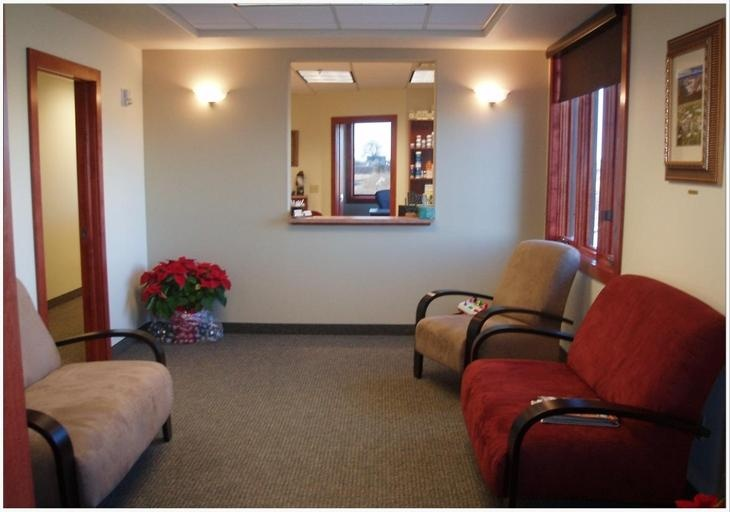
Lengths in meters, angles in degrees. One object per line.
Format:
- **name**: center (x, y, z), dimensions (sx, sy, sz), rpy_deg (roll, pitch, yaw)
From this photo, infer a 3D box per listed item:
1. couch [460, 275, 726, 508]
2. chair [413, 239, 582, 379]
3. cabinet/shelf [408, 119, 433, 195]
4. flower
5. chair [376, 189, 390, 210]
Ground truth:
- **couch**: center (1.178, 0.818, 3.098), dimensions (1.290, 0.986, 1.262), rpy_deg (-3, 6, 2)
- **chair**: center (1.180, 0.429, 4.164), dimensions (1.449, 1.378, 1.055), rpy_deg (-1, 2, -12)
- **cabinet/shelf**: center (0.969, -1.803, 8.685), dimensions (0.400, 1.044, 0.141), rpy_deg (1, -6, 6)
- **flower**: center (-1.883, 0.349, 5.460), dimensions (0.783, 0.569, 0.843), rpy_deg (-1, 2, -14)
- **chair**: center (0.356, -1.115, 10.060), dimensions (0.331, 0.426, 0.350), rpy_deg (2, 16, 4)
